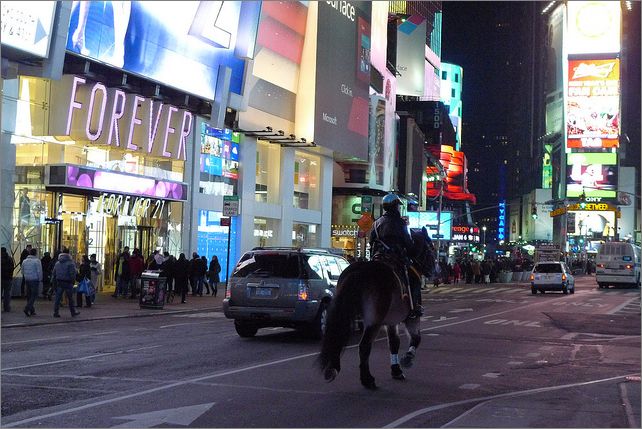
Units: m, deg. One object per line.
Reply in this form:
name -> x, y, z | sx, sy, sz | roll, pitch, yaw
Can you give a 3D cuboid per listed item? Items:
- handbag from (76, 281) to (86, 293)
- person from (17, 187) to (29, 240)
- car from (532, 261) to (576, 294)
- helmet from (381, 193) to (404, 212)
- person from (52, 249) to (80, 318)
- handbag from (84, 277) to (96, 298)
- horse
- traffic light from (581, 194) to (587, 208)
handbag -> -9.764, 2.918, 23.189 | 0.486, 0.570, 0.333 | 4, -7, -3
person -> -14.297, -0.081, 27.369 | 0.162, 2.421, 0.615 | -3, -8, 17
car -> 17.994, 4.906, 44.131 | 2.785, 2.342, 5.296 | -2, -5, 33
helmet -> 1.472, -0.264, 11.767 | 0.385, 0.355, 0.353 | -6, 4, -18
person -> -9.499, 2.574, 21.125 | 0.784, 2.433, 1.398 | 2, -9, -24
handbag -> -9.639, 3.015, 23.684 | 0.340, 0.662, 1.142 | 2, -9, -21
horse -> 1.313, 1.823, 11.546 | 1.020, 2.803, 4.475 | -4, -11, 33
traffic light -> 31.493, -1.774, 68.343 | 0.518, 1.695, 1.154 | -3, -8, 16
